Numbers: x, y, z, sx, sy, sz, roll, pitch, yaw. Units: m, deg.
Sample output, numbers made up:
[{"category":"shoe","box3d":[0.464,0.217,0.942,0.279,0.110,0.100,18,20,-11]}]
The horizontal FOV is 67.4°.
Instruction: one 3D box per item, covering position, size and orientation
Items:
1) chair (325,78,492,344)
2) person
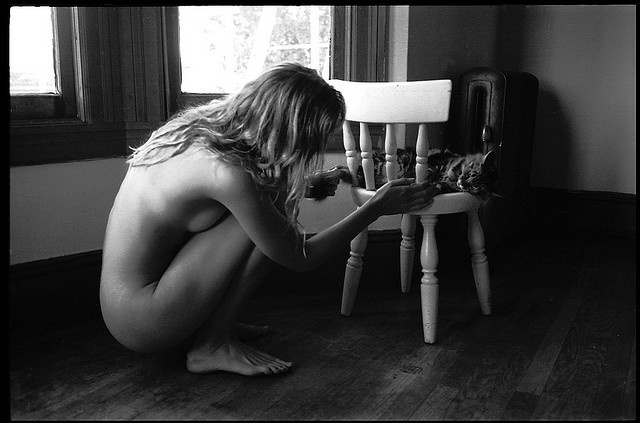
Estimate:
[{"category":"chair","box3d":[0.348,-0.014,1.776,0.547,0.786,0.546,1,10,12]},{"category":"person","box3d":[-0.157,0.026,1.579,0.979,0.891,0.553,2,13,-11]}]
